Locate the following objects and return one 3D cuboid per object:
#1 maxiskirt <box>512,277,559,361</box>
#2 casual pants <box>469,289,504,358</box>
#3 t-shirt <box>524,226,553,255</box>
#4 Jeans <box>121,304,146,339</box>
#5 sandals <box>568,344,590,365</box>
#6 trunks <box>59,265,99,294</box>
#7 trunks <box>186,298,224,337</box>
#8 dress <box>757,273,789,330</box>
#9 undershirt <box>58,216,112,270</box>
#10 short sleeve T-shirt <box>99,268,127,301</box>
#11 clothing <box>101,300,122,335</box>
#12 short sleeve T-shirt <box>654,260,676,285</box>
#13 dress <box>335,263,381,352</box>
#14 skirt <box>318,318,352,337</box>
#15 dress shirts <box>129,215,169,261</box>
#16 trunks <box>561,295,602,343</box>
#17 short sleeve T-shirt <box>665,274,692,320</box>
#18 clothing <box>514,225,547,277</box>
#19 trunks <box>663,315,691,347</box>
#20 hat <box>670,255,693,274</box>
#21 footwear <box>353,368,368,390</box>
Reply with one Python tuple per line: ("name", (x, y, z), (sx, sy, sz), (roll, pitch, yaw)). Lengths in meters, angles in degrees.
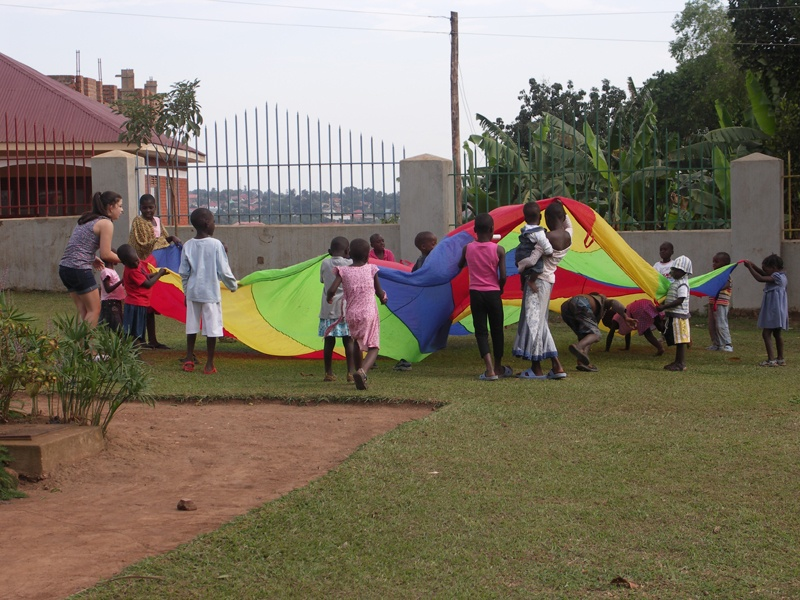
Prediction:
("maxiskirt", (1.440, 0.272, 10.783), (0.433, 0.964, 0.482), (1, 15, 7))
("casual pants", (0.934, 0.283, 10.903), (0.315, 0.803, 0.413), (12, 19, 41))
("t-shirt", (1.449, -0.602, 10.650), (0.116, 0.207, 0.231), (-16, 18, -19))
("Jeans", (-2.997, 0.245, 11.506), (0.320, 0.506, 0.362), (2, -2, -6))
("sandals", (1.983, 0.607, 11.227), (0.079, 0.205, 0.143), (-36, 2, 31))
("trunks", (-3.287, -0.213, 10.470), (0.271, 0.286, 0.364), (-15, 19, -43))
("trunks", (-2.125, 0.198, 11.136), (0.370, 0.506, 0.174), (0, -5, 6))
("dress", (4.247, 0.038, 11.557), (0.296, 0.652, 0.368), (5, 15, 20))
("undershirt", (-3.353, -0.632, 10.484), (0.249, 0.497, 0.374), (26, 12, 36))
("short sleeve T-shirt", (-3.226, -0.181, 11.588), (0.289, 0.475, 0.453), (-5, 8, -14))
("clothing", (-3.040, 0.188, 10.770), (0.208, 0.334, 0.329), (-2, 0, 21))
("short sleeve T-shirt", (3.195, -0.316, 12.243), (0.163, 0.308, 0.292), (5, -2, -41))
("dress", (-0.423, 0.082, 10.494), (0.399, 0.814, 0.421), (-1, 14, -3))
("skirt", (-0.701, 0.304, 10.840), (0.230, 0.176, 0.201), (-1, 1, 3))
("dress shirts", (-3.178, -0.804, 12.913), (0.529, 0.610, 0.504), (-2, 9, 15))
("trunks", (2.110, 0.204, 11.716), (0.280, 0.515, 0.387), (-4, -27, -32))
("short sleeve T-shirt", (3.161, -0.034, 11.600), (0.258, 0.515, 0.460), (4, 5, -5))
("clothing", (1.396, -0.530, 10.820), (0.305, 0.548, 0.402), (0, 4, -17))
("trunks", (3.174, 0.351, 11.662), (0.236, 0.435, 0.328), (-4, 7, -12))
("hat", (3.236, -0.430, 11.660), (0.236, 0.195, 0.274), (14, -7, 6))
("footwear", (-0.380, 0.810, 10.156), (0.098, 0.230, 0.107), (10, 51, 31))
